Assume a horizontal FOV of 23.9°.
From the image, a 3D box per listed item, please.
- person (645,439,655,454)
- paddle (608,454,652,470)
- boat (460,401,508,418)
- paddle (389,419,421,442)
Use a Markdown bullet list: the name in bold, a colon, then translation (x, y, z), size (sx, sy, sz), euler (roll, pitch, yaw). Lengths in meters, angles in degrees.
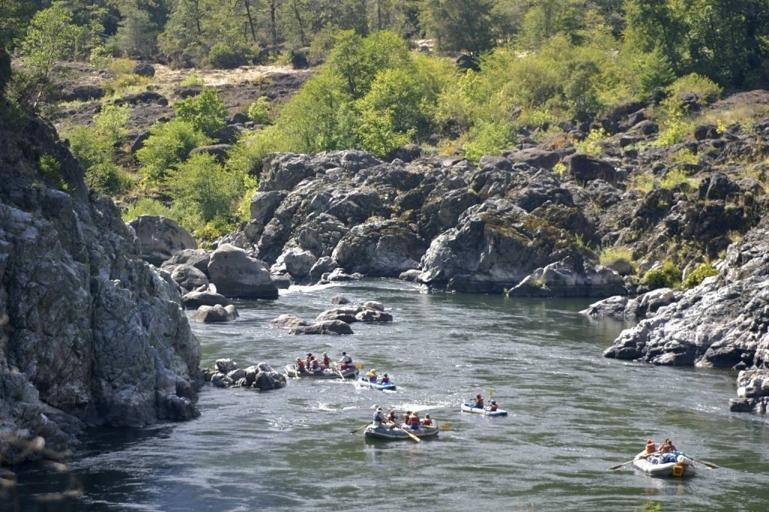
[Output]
- **person**: translation (25.206, 18.014, 171.971), size (0.920, 1.245, 0.536), euler (-4, 2, -12)
- **paddle**: translation (23.332, 19.441, 171.327), size (2.968, 0.321, 0.149), euler (-24, -12, -5)
- **boat**: translation (9.683, 15.051, 176.555), size (3.199, 0.636, 1.772), euler (5, 3, 12)
- **paddle**: translation (2.026, 16.755, 173.787), size (3.850, 0.523, 0.315), euler (27, 19, 13)
